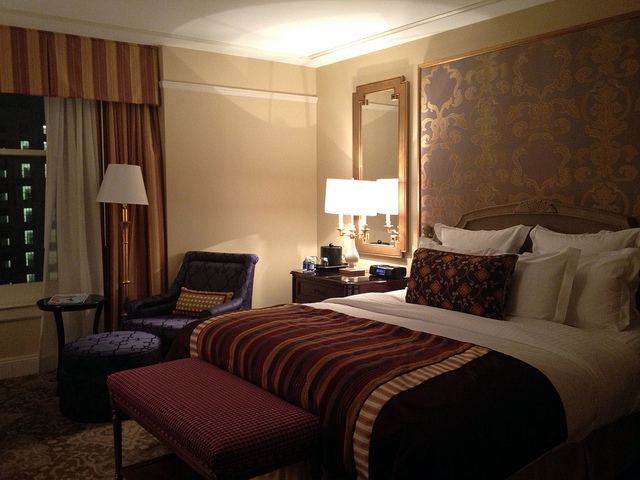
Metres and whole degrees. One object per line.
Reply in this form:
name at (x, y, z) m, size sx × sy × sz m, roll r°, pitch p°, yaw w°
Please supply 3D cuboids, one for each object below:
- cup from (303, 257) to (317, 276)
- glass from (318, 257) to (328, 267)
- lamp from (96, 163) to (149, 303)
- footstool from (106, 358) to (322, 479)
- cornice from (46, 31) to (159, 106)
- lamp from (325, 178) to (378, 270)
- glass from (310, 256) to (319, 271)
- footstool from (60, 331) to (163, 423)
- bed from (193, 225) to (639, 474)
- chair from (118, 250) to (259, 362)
cup at (-0.104, 0.286, 5.123) m, size 0.184 × 0.195 × 0.122 m, roll 5°, pitch -5°, yaw -43°
glass at (0.037, 0.239, 5.193) m, size 0.093 × 0.091 × 0.079 m, roll -3°, pitch -5°, yaw 33°
lamp at (-1.955, -0.053, 4.566) m, size 0.415 × 1.376 × 0.441 m, roll -6°, pitch 7°, yaw -42°
footstool at (-0.614, 1.004, 2.564) m, size 1.315 × 0.333 × 0.544 m, roll 4°, pitch 8°, yaw 43°
cornice at (-2.222, -1.723, 4.634) m, size 0.690 × 0.468 × 0.062 m, roll -2°, pitch 2°, yaw -33°
lamp at (0.351, -0.145, 5.041) m, size 0.541 × 0.958 × 0.564 m, roll 5°, pitch -12°, yaw -18°
glass at (-0.041, 0.253, 5.360) m, size 0.107 × 0.221 × 0.118 m, roll -1°, pitch 1°, yaw -22°
footstool at (-1.682, 1.001, 3.750) m, size 0.615 × 0.483 × 0.651 m, roll 3°, pitch 2°, yaw -5°
bed at (0.667, 0.648, 2.856) m, size 1.519 × 0.825 × 1.527 m, roll 1°, pitch 0°, yaw -31°
chair at (-1.270, 0.714, 4.447) m, size 1.221 × 1.316 × 1.262 m, roll 6°, pitch -5°, yaw -14°
